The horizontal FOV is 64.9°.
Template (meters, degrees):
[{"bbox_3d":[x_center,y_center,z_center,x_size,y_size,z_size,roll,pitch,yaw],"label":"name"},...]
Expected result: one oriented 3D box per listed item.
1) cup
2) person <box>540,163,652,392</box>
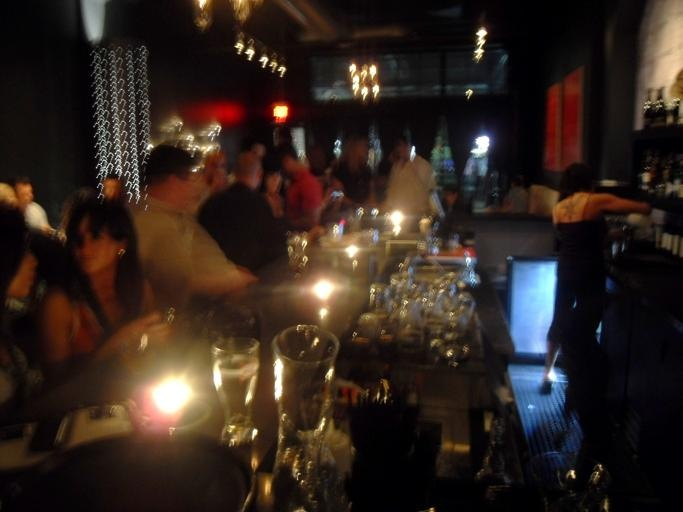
[{"bbox_3d":[-0.149,0.321,1.458,0.286,0.369,0.327,3,9,-2],"label":"cup"},{"bbox_3d":[1.693,0.208,3.736,0.501,1.655,0.460,6,6,27],"label":"person"}]
